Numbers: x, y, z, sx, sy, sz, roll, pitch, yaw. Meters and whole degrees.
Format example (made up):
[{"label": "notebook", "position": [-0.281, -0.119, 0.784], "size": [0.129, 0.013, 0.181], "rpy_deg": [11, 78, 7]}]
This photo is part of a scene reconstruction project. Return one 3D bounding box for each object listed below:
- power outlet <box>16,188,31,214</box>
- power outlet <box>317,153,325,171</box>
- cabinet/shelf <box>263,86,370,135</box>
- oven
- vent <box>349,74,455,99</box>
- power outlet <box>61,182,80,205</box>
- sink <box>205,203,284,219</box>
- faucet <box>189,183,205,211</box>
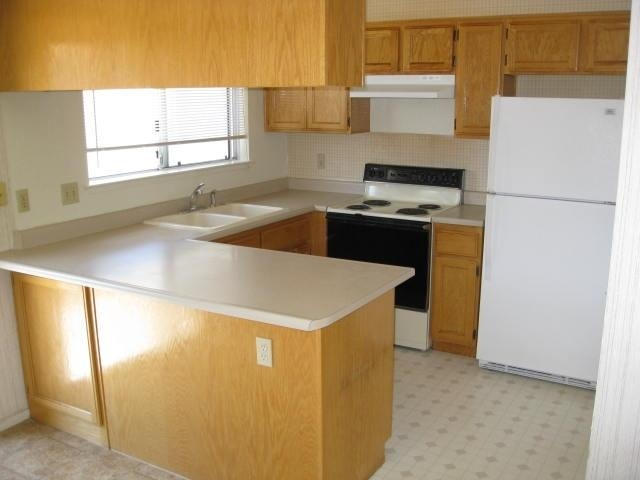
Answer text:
[{"label": "power outlet", "position": [-1.846, -0.236, 3.130], "size": [0.014, 0.142, 0.082], "rpy_deg": [8, 17, 29]}, {"label": "power outlet", "position": [0.010, -0.767, 4.998], "size": [0.082, 0.159, 0.016], "rpy_deg": [9, 17, 30]}, {"label": "cabinet/shelf", "position": [-0.095, -1.187, 4.668], "size": [0.922, 0.390, 0.163], "rpy_deg": [7, 16, 27]}, {"label": "oven", "position": [0.496, 0.281, 4.739], "size": [1.083, 1.490, 1.014], "rpy_deg": [5, 10, 29]}, {"label": "vent", "position": [0.704, -1.222, 4.039], "size": [0.717, 0.179, 0.155], "rpy_deg": [5, 15, 18]}, {"label": "power outlet", "position": [-1.668, -0.303, 3.347], "size": [0.019, 0.124, 0.142], "rpy_deg": [-2, 6, 33]}, {"label": "sink", "position": [-0.716, -0.229, 4.280], "size": [0.286, 0.076, 0.288], "rpy_deg": [11, 17, 34]}, {"label": "faucet", "position": [-1.021, -0.353, 4.162], "size": [0.123, 0.227, 0.277], "rpy_deg": [-3, 15, -11]}]
